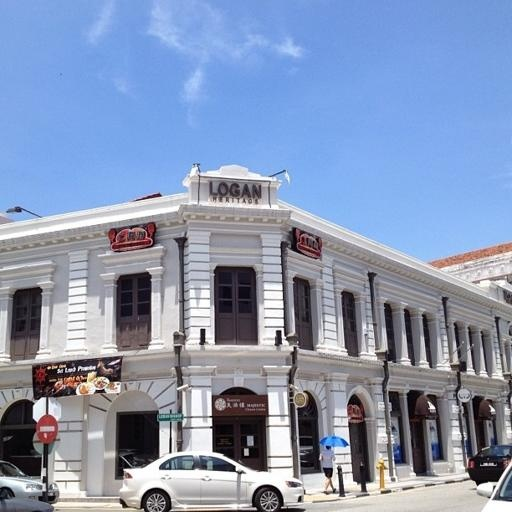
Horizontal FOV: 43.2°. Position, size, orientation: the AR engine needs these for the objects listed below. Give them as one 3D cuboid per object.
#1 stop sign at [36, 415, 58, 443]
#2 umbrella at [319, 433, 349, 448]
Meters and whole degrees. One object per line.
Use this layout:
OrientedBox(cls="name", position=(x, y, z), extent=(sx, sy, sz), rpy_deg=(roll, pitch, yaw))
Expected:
OrientedBox(cls="stop sign", position=(-4.632, 3.805, 14.343), extent=(0.406, 0.649, 0.451), rpy_deg=(7, -25, -17))
OrientedBox(cls="umbrella", position=(2.768, 6.455, 22.594), extent=(0.852, 0.375, 0.763), rpy_deg=(1, -22, -5))
